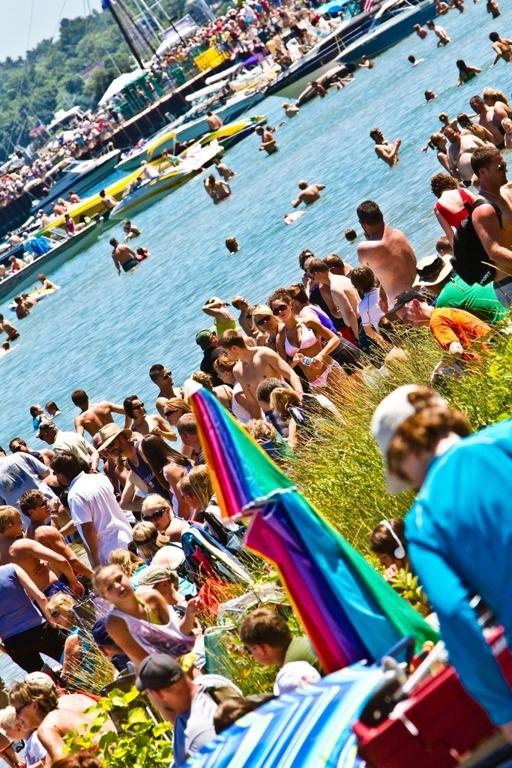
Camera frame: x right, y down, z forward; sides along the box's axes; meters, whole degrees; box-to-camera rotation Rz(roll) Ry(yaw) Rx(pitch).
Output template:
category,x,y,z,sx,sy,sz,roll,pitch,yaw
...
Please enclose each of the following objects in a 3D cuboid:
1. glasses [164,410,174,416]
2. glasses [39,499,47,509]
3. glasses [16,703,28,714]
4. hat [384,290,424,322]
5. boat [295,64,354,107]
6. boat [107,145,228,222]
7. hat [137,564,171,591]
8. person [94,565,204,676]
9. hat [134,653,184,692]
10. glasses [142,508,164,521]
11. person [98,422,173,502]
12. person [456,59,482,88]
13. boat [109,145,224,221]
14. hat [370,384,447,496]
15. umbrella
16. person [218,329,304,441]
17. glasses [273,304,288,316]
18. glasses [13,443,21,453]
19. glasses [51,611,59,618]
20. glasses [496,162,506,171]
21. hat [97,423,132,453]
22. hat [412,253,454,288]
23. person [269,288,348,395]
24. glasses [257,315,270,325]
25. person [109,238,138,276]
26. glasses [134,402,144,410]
category,x,y,z,sx,sy,sz,roll,pitch,yaw
glasses,-0.663,0.214,8.740,0.053,0.035,0.050,-2,4,-3
glasses,-1.591,0.898,8.685,0.025,0.073,0.066,-7,18,-10
glasses,-1.273,1.761,6.294,0.063,0.019,0.065,-33,5,37
hat,0.965,-0.536,7.565,0.265,0.133,0.161,-32,5,6
boat,2.108,-9.422,36.301,1.814,0.405,1.145,-34,0,19
boat,-3.126,-6.615,38.577,3.969,0.940,2.386,-28,7,36
hat,-0.589,1.099,6.652,0.163,0.147,0.121,-35,9,-7
person,-0.571,1.281,6.224,0.343,0.791,0.263,10,74,31
hat,-0.432,1.283,5.183,0.146,0.104,0.188,-25,20,-29
glasses,-0.694,0.868,7.901,0.121,0.040,0.123,-12,6,26
person,-0.854,0.556,9.632,0.837,0.363,0.274,22,60,41
person,3.858,-5.794,21.400,0.472,0.414,1.065,-26,8,20
boat,-3.120,-6.627,38.591,3.957,0.947,2.388,-28,7,36
hat,0.478,0.187,3.907,0.261,0.191,0.353,-51,-5,-38
umbrella,0.012,0.564,4.534,0.758,1.265,0.578,-22,0,-32
person,0.122,-0.025,8.711,0.423,0.364,1.320,-58,-15,-30
glasses,0.178,-0.553,8.489,0.089,0.078,0.063,-34,10,-33
glasses,-2.484,0.664,12.052,0.103,0.099,0.031,-8,2,20
glasses,-1.370,1.563,7.862,0.043,0.019,0.053,-1,8,0
glasses,1.487,-1.322,7.001,0.025,0.071,0.071,-2,10,-16
hat,-1.269,0.443,10.146,0.268,0.142,0.309,-32,-1,11
hat,1.261,-0.777,8.228,0.273,0.105,0.227,-22,38,27
person,0.331,-0.391,8.663,1.088,0.523,0.466,83,-150,-57
glasses,0.047,-0.478,8.560,0.078,0.060,0.083,-21,11,41
person,-3.383,-3.297,29.417,0.527,0.919,0.755,-30,9,-1
glasses,-1.018,0.184,10.031,0.055,0.048,0.057,-5,1,-13
